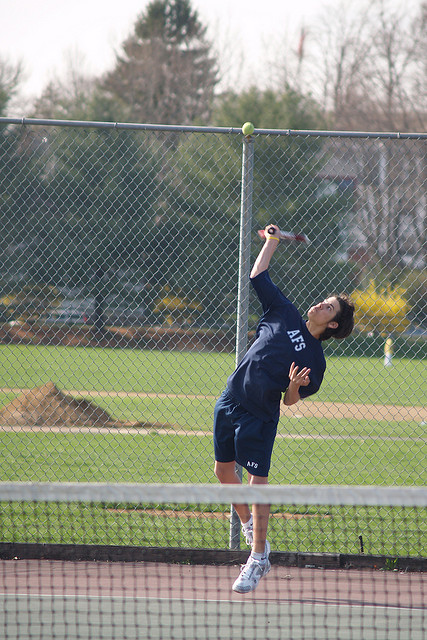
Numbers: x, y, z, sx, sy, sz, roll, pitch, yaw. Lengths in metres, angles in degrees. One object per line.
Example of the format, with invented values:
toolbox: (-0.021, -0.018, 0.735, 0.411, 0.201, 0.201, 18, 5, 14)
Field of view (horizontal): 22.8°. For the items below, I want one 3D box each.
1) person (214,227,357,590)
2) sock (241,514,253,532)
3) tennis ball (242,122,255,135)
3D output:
person: (0.494, 0.605, 7.873, 1.022, 2.592, 0.828, -3, 9, -1)
sock: (0.252, 1.514, 7.874, 0.080, 0.111, 0.105, -3, 9, -2)
tennis ball: (0.261, -1.450, 7.991, 0.095, 0.103, 0.090, 0, 4, 0)
